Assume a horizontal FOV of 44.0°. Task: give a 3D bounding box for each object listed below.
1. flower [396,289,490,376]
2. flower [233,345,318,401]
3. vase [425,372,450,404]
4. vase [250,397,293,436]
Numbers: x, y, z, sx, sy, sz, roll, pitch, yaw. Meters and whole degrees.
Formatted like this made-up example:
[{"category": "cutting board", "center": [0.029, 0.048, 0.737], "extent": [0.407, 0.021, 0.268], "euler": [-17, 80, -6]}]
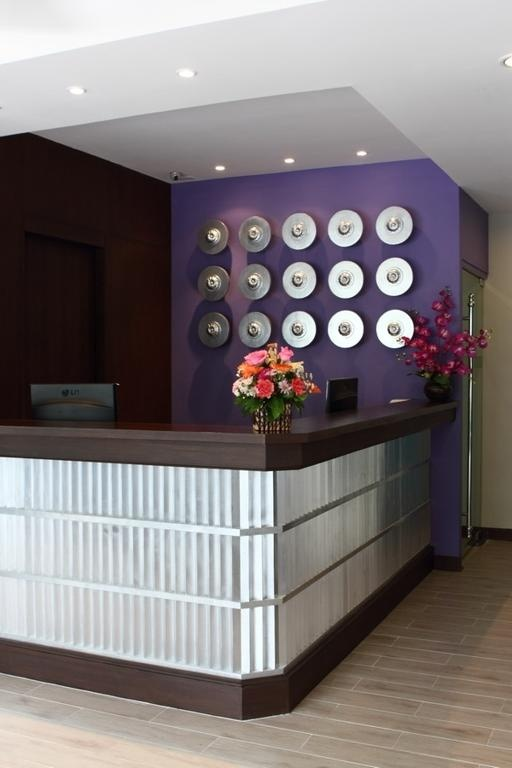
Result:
[{"category": "flower", "center": [1.320, -0.352, 4.743], "extent": [0.626, 0.726, 0.678], "euler": [12, 24, 33]}, {"category": "flower", "center": [0.063, -0.028, 2.278], "extent": [0.243, 0.200, 0.243], "euler": [4, 3, 5]}, {"category": "vase", "center": [1.293, 0.033, 4.479], "extent": [0.222, 0.220, 0.170], "euler": [3, -1, -5]}, {"category": "vase", "center": [0.054, 0.123, 2.250], "extent": [0.111, 0.107, 0.114], "euler": [1, 0, 37]}]
